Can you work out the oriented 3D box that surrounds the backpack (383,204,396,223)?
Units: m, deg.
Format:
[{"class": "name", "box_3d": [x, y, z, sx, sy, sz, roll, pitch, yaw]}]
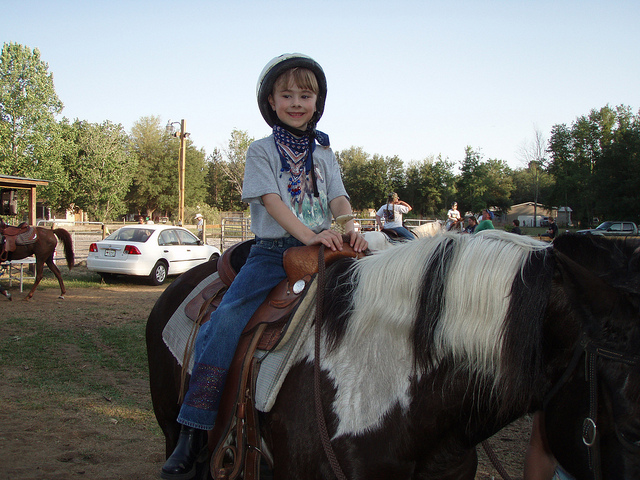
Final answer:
[{"class": "backpack", "box_3d": [1.407, -0.489, 9.904, 0.168, 0.291, 0.273, -1, -10, 5]}]

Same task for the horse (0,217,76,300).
[{"class": "horse", "box_3d": [-6.275, 0.410, 10.746, 1.476, 1.525, 2.377, 2, 5, -28]}]

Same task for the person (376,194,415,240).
[{"class": "person", "box_3d": [1.579, -0.250, 10.321, 0.677, 1.456, 0.470, -5, -1, -31]}]

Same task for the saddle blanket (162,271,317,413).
[{"class": "saddle blanket", "box_3d": [-0.293, 0.567, 2.095, 0.204, 0.657, 0.563, 26, -6, -40]}]

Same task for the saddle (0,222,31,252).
[{"class": "saddle", "box_3d": [-6.414, -0.081, 10.494, 0.281, 0.668, 0.874, 4, 3, 43]}]
